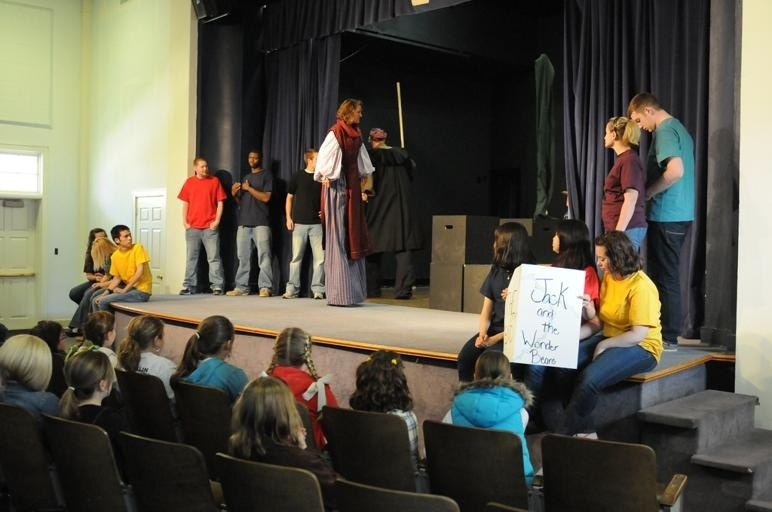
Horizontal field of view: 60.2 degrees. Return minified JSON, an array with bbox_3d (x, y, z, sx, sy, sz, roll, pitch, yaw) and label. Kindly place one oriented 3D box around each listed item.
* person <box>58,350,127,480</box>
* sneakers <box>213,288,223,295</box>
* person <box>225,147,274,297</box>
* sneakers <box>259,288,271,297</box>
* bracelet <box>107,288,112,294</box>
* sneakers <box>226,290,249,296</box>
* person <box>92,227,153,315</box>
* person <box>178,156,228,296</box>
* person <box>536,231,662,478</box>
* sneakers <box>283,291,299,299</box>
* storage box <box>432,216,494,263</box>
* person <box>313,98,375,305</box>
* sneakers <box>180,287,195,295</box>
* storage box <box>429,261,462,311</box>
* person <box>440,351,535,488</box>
[{"bbox_3d":[-1.599,0.903,3.705,0.511,0.789,0.241,1,0,38],"label":"person"},{"bbox_3d":[-2.222,0.484,8.818,0.135,0.065,0.162,1,-1,-13],"label":"sneakers"},{"bbox_3d":[-1.711,-0.409,8.674,0.587,1.785,0.326,1,0,34],"label":"person"},{"bbox_3d":[-1.558,0.475,8.598,0.155,0.100,0.289,1,-1,-11],"label":"sneakers"},{"bbox_3d":[-3.172,0.412,7.631,0.054,0.047,0.056,-2,7,-35],"label":"bracelet"},{"bbox_3d":[-1.964,0.500,8.730,0.239,0.108,0.108,5,-5,-9],"label":"sneakers"},{"bbox_3d":[-3.028,0.293,7.576,0.514,1.270,0.663,-2,0,41],"label":"person"},{"bbox_3d":[-2.453,-0.370,8.879,0.624,1.782,0.529,1,0,-15],"label":"person"},{"bbox_3d":[1.455,0.557,4.546,0.825,1.393,0.625,-2,6,-9],"label":"person"},{"bbox_3d":[-1.193,0.506,8.342,0.167,0.085,0.080,12,-12,-36],"label":"sneakers"},{"bbox_3d":[0.768,-0.163,7.728,0.773,0.533,0.798,0,-4,-10],"label":"storage box"},{"bbox_3d":[-0.475,-0.520,7.088,0.555,1.951,0.532,1,0,-5],"label":"person"},{"bbox_3d":[-2.631,0.489,8.830,0.089,0.104,0.254,-9,-17,16],"label":"sneakers"},{"bbox_3d":[0.749,0.347,7.619,0.402,0.599,0.573,-1,-1,24],"label":"storage box"},{"bbox_3d":[0.623,1.121,4.062,0.580,1.034,0.545,-3,4,-6],"label":"person"}]
